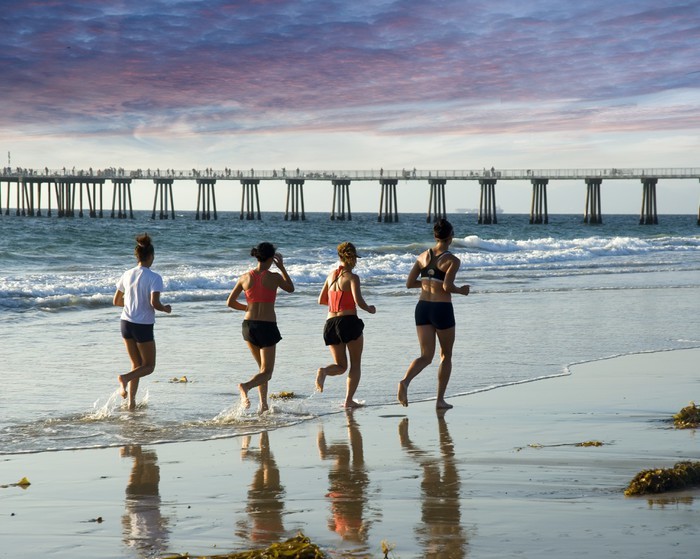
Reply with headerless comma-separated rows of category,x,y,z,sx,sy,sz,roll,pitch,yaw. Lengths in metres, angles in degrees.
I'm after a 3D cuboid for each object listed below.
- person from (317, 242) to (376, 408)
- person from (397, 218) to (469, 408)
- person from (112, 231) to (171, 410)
person,-0.070,0.451,10.853,0.656,1.653,1.213,-5,5,0
person,0.789,0.363,10.462,0.761,1.874,0.615,-4,5,8
person,-2.050,0.418,10.496,0.545,1.715,0.765,-6,5,-11
